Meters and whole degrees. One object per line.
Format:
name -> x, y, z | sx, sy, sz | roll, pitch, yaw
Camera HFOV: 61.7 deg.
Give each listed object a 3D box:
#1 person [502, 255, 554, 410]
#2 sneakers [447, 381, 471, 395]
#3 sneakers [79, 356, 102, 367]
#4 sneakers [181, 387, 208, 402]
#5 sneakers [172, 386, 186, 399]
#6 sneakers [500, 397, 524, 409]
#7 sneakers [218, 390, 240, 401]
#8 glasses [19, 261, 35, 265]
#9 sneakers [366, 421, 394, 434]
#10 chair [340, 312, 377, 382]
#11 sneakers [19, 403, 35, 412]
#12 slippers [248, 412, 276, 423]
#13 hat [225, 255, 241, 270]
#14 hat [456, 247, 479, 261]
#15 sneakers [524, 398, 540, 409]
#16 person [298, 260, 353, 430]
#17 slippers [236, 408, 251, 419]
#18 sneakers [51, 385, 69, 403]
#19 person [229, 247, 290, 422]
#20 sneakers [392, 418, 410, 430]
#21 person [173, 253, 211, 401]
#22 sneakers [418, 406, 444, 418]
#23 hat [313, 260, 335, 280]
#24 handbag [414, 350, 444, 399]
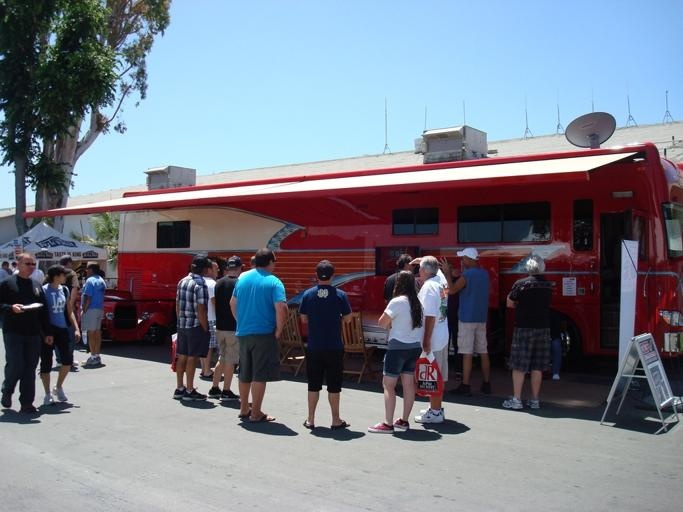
person -> 2.584, 1.067, 7.998 | 0.610, 2.104, 0.496 | 1, 1, 16
sneakers -> 1.771, 2.030, 8.764 | 0.369, 0.181, 0.144 | 1, 1, 30
sneakers -> -4.715, 1.965, 10.768 | 0.439, 0.199, 0.184 | 1, 2, 24
sneakers -> -2.147, 2.042, 8.404 | 0.381, 0.186, 0.155 | 0, -1, -4
sneakers -> -2.364, 2.021, 8.459 | 0.096, 0.123, 0.278 | 1, 2, 41
sneakers -> 2.372, 2.063, 7.995 | 0.284, 0.140, 0.135 | 3, 2, 44
sneakers -> -1.653, 2.073, 8.455 | 0.312, 0.142, 0.118 | 1, -1, -9
glasses -> -4.160, 0.099, 7.675 | 0.089, 0.064, 0.298 | 0, 1, -16
sneakers -> 0.481, 2.081, 6.933 | 0.256, 0.107, 0.131 | 4, -9, 14
chair -> 0.235, 1.581, 9.829 | 0.676, 1.063, 0.746 | -1, -12, 21
sneakers -> -4.113, 1.993, 7.507 | 0.236, 0.106, 0.128 | 0, 1, -7
slippers -> -1.009, 2.032, 7.306 | 0.275, 0.078, 0.136 | 0, 4, -32
hat -> -1.575, 0.140, 8.464 | 0.212, 0.170, 0.319 | -1, 19, 4
hat -> 1.918, -0.035, 8.787 | 0.277, 0.128, 0.198 | 6, 6, 29
sneakers -> 2.667, 2.071, 8.012 | 0.091, 0.105, 0.237 | 0, 0, -8
person -> -0.210, 1.091, 7.089 | 0.624, 2.051, 0.339 | 0, 1, -5
slippers -> -1.273, 2.044, 7.485 | 0.087, 0.109, 0.267 | 2, 5, 9
sneakers -> -3.996, 1.965, 8.131 | 0.290, 0.130, 0.105 | 8, 1, 33
person -> -1.061, 1.017, 7.340 | 0.806, 2.193, 0.385 | 1, 1, 37
sneakers -> 0.738, 2.064, 7.046 | 0.189, 0.132, 0.174 | 0, 1, 7
person -> -2.178, 1.050, 8.435 | 0.575, 2.084, 0.399 | 1, 1, 22
sneakers -> 1.175, 2.077, 7.636 | 0.430, 0.195, 0.151 | 0, -4, 9
hat -> -0.214, 0.166, 7.142 | 0.173, 0.260, 0.254 | 3, 40, 3
handbag -> 1.089, 1.496, 7.164 | 0.336, 0.573, 0.216 | 0, 1, 4
